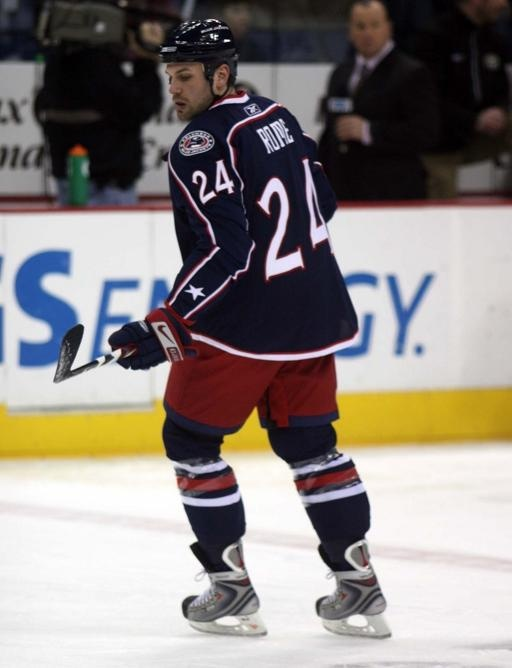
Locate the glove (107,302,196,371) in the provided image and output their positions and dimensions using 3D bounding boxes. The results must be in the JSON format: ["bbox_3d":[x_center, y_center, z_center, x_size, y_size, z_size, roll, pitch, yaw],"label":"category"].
[{"bbox_3d":[-0.220,0.014,1.767,0.166,0.063,0.108,-13,40,-5],"label":"glove"}]

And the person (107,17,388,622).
[{"bbox_3d":[-0.009,0.002,1.916,0.588,1.386,0.408,-1,13,-1],"label":"person"}]

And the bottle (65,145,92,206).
[{"bbox_3d":[-0.850,-0.743,3.995,0.115,0.277,0.298,-3,12,-12],"label":"bottle"}]

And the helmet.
[{"bbox_3d":[-0.133,-0.622,1.877,0.187,0.131,0.132,-11,37,-17],"label":"helmet"}]
